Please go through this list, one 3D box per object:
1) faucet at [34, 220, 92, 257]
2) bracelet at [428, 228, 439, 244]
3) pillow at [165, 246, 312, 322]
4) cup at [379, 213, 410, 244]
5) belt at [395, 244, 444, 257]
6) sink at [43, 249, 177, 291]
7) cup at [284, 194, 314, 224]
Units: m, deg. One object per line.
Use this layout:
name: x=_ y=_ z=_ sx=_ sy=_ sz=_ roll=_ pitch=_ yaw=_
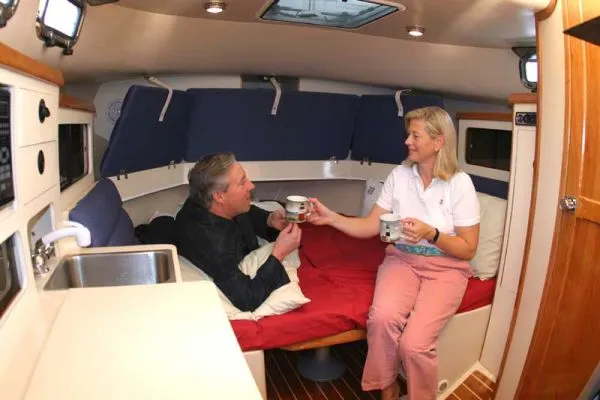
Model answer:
faucet: x=-1.020 y=0.169 z=1.748 sx=0.247 sy=0.135 sz=0.065 roll=-11 pitch=28 yaw=1
bracelet: x=0.689 y=0.184 z=2.096 sx=0.059 sy=0.053 sz=0.055 roll=-25 pitch=-20 yaw=-29
pillow: x=-0.188 y=0.470 z=2.117 sx=0.457 sy=0.131 sz=0.434 roll=-10 pitch=21 yaw=-28
cup: x=0.456 y=0.146 z=2.002 sx=0.147 sy=0.106 sz=0.108 roll=2 pitch=11 yaw=2
belt: x=0.681 y=0.280 z=2.299 sx=0.162 sy=0.031 sz=0.092 roll=6 pitch=9 yaw=12
sink: x=-0.764 y=0.316 z=1.706 sx=0.476 sy=0.159 sz=0.299 roll=-1 pitch=9 yaw=-15
cup: x=-0.007 y=0.049 z=2.158 sx=0.159 sy=0.114 sz=0.116 roll=1 pitch=11 yaw=-2
